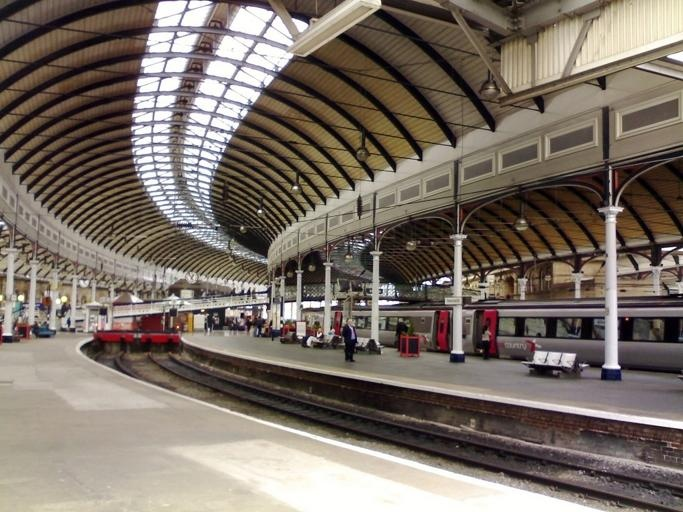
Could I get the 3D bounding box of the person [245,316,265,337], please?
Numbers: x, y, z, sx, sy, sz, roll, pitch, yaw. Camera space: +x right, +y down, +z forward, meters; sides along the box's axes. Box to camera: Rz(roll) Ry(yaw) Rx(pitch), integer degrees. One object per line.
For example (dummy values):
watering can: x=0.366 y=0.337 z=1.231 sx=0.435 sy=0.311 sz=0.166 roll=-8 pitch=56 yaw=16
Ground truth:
person: x=-9.216 y=7.455 z=61.476 sx=0.779 sy=0.693 sz=2.365 roll=-12 pitch=13 yaw=-36

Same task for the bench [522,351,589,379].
bench: x=7.347 y=3.748 z=20.081 sx=1.768 sy=0.876 sz=0.963 roll=0 pitch=-2 yaw=35

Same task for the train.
train: x=8.138 y=3.431 z=27.543 sx=2.317 sy=3.515 sz=15.875 roll=3 pitch=-2 yaw=-38
